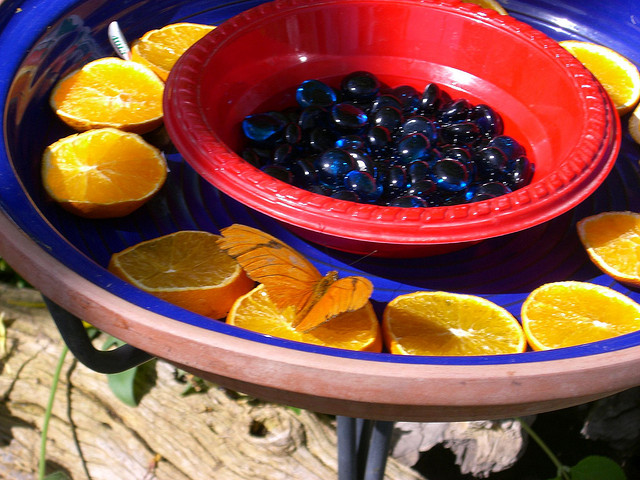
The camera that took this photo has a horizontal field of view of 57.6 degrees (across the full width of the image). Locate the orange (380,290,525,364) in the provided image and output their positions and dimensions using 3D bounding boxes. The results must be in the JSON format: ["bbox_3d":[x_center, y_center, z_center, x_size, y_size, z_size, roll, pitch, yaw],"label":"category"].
[{"bbox_3d":[0.228,0.146,1.027,0.241,0.059,0.152,-4,38,-1],"label":"orange"}]
